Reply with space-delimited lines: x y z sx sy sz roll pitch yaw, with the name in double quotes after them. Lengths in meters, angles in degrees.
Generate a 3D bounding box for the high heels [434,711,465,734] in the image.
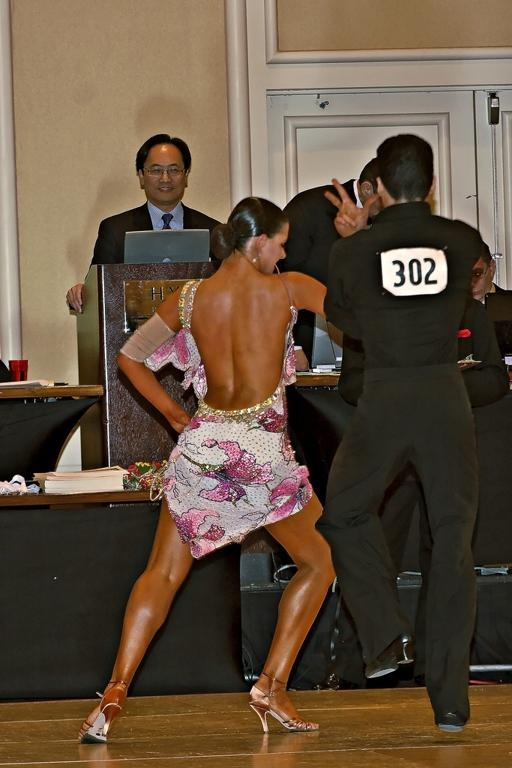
0.406 0.719 1.653 0.038 0.035 0.086 -2 2 5 "high heels"

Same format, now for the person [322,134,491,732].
0.313 0.147 1.774 0.379 1.129 0.331 -1 5 14 "person"

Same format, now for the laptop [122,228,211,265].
-0.324 -0.506 2.885 0.312 0.168 0.199 1 0 -5 "laptop"

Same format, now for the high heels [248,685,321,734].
0.050 0.808 1.977 0.227 0.134 0.078 1 -8 -13 "high heels"

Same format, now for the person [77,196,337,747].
-0.112 0.207 2.006 0.607 1.379 0.515 -1 5 4 "person"

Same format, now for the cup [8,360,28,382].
-0.905 -0.055 3.044 0.096 0.092 0.088 -1 1 0 "cup"
